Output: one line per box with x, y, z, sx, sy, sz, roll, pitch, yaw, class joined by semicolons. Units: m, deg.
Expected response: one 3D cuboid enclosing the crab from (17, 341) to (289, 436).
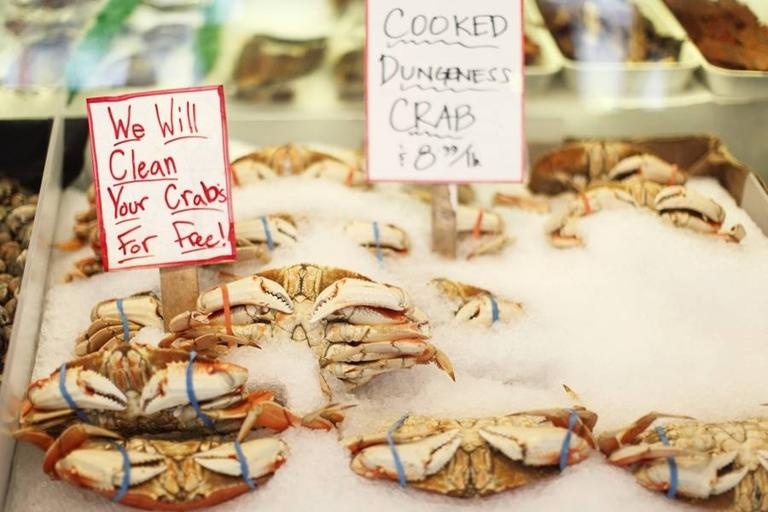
-0.917;0.316;2.729;0.730;0.399;0.213;-1;71;-1;crab

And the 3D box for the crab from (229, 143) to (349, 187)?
-0.412;-0.421;3.405;0.577;0.156;0.133;-4;40;2;crab
